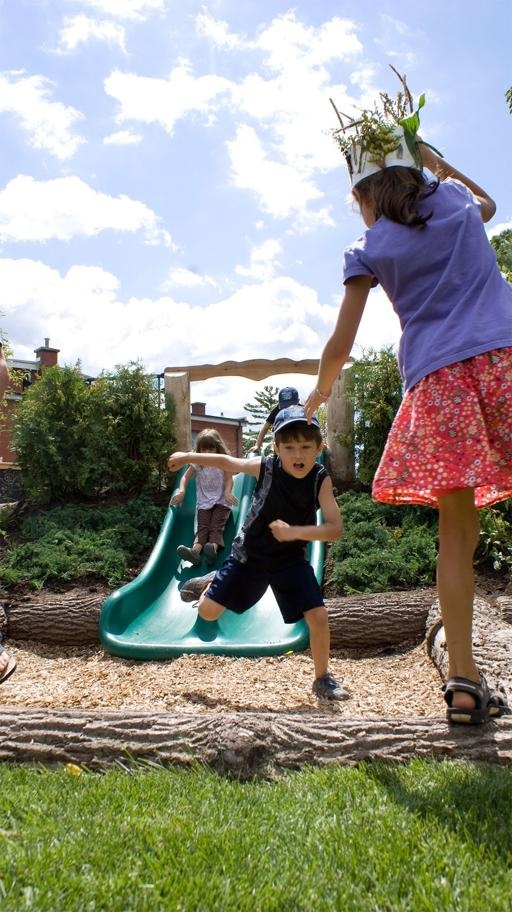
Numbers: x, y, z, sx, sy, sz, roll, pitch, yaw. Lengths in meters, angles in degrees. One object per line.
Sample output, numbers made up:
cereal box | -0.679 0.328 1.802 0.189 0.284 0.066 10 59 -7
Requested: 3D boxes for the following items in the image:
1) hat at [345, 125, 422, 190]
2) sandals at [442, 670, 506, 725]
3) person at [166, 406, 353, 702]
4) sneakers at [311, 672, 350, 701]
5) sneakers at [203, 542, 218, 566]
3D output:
hat | 0.455 -1.037 2.341 0.239 0.171 0.224 -7 2 28
sandals | 0.664 0.726 2.019 0.090 0.120 0.266 -6 -12 32
person | -0.015 0.433 3.174 1.051 1.319 0.558 2 -1 34
sneakers | 0.319 0.976 2.828 0.063 0.071 0.173 5 -12 -26
sneakers | -0.380 0.781 5.426 0.080 0.201 0.076 5 20 10
